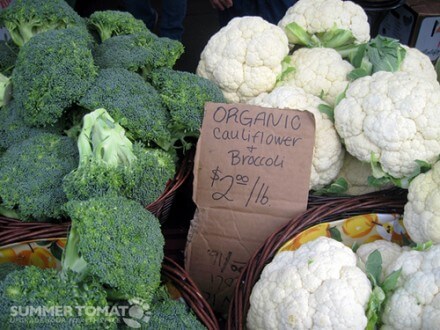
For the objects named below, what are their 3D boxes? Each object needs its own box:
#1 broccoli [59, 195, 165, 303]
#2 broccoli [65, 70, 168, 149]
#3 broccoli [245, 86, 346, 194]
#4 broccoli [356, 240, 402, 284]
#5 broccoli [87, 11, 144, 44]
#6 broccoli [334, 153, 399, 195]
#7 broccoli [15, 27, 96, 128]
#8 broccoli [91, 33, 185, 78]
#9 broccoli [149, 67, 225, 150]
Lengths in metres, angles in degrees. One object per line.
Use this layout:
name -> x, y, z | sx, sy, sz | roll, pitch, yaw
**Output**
broccoli -> -0.393, 0.309, 1.500 | 0.223, 0.408, 0.399 | -40, 33, 5
broccoli -> -0.527, -0.239, 1.949 | 0.401, 0.129, 0.359 | 31, 38, -16
broccoli -> 0.431, -0.179, 2.005 | 0.280, 0.370, 0.546 | -33, 60, -23
broccoli -> 0.734, 0.425, 1.719 | 0.178, 0.075, 0.168 | -34, 43, -7
broccoli -> -0.676, -0.837, 2.247 | 0.229, 0.201, 0.230 | 6, 9, -25
broccoli -> 0.745, 0.071, 2.020 | 0.230, 0.189, 0.118 | -14, 74, -36
broccoli -> -0.785, -0.482, 1.857 | 0.364, 0.165, 0.471 | -4, 72, 20
broccoli -> -0.460, -0.642, 2.247 | 0.526, 0.342, 0.547 | -2, 7, -6
broccoli -> -0.180, -0.345, 2.100 | 0.391, 0.348, 0.399 | 37, 16, 7
